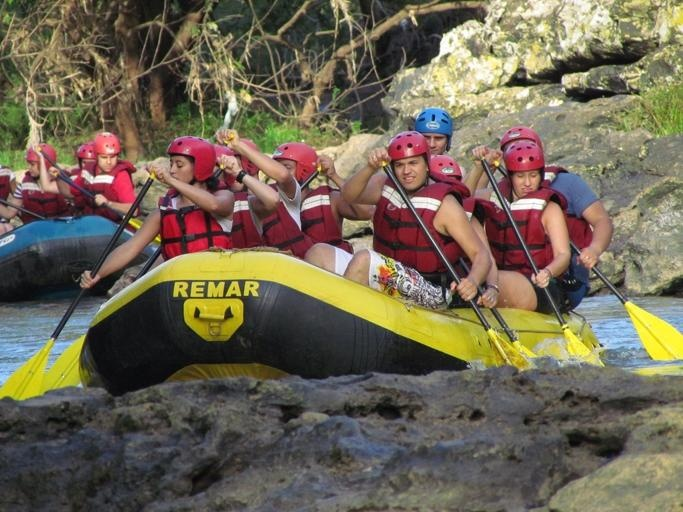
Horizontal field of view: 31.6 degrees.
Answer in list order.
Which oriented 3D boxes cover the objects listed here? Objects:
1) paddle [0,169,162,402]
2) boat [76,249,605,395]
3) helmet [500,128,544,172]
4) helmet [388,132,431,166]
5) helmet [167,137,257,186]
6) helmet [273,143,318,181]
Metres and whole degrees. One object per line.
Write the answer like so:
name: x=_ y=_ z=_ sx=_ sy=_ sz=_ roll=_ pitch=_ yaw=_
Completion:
paddle: x=-3.628 y=0.433 z=16.879 sx=0.841 sy=4.746 sz=0.130 roll=32 pitch=-2 yaw=-31
boat: x=-0.352 y=0.864 z=13.761 sx=3.589 sy=0.871 sz=2.117 roll=15 pitch=-5 yaw=-40
helmet: x=2.342 y=-1.555 z=15.940 sx=0.384 sy=0.461 sz=0.540 roll=-20 pitch=-9 yaw=25
helmet: x=0.793 y=-1.341 z=14.273 sx=0.308 sy=0.437 sz=0.389 roll=-6 pitch=36 yaw=-25
helmet: x=-1.739 y=-1.142 z=14.268 sx=0.563 sy=0.429 sz=0.422 roll=5 pitch=-1 yaw=-27
helmet: x=-0.525 y=-1.231 z=15.249 sx=0.594 sy=0.498 sz=0.484 roll=-4 pitch=18 yaw=-15
